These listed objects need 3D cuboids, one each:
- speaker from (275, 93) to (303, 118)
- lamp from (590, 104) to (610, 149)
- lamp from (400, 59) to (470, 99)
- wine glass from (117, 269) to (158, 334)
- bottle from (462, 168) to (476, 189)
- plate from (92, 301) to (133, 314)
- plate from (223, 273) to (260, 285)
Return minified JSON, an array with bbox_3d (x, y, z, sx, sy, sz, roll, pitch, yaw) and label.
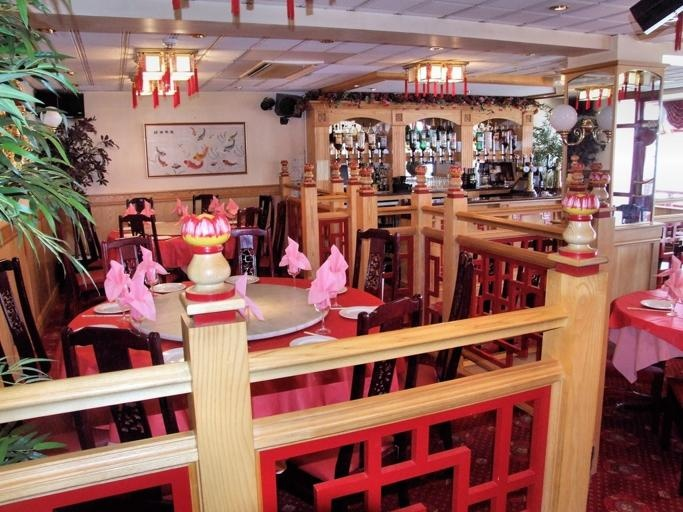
[{"bbox_3d":[-0.822,-2.381,7.881,0.447,0.364,0.261,-6,11,-7],"label":"speaker"},{"bbox_3d":[2.530,-1.274,4.914,0.078,0.399,0.216,-9,12,-17],"label":"lamp"},{"bbox_3d":[1.137,-2.294,6.401,0.877,0.340,0.752,2,21,5],"label":"lamp"},{"bbox_3d":[-0.973,0.223,2.393,0.225,0.223,0.210,-11,42,-20],"label":"wine glass"},{"bbox_3d":[2.291,-1.407,9.078,0.263,0.379,0.518,-2,10,14],"label":"bottle"},{"bbox_3d":[-1.270,0.291,2.784,0.149,0.013,0.135,4,14,3],"label":"plate"},{"bbox_3d":[-0.654,0.151,3.320,0.154,0.019,0.148,4,10,26],"label":"plate"}]
